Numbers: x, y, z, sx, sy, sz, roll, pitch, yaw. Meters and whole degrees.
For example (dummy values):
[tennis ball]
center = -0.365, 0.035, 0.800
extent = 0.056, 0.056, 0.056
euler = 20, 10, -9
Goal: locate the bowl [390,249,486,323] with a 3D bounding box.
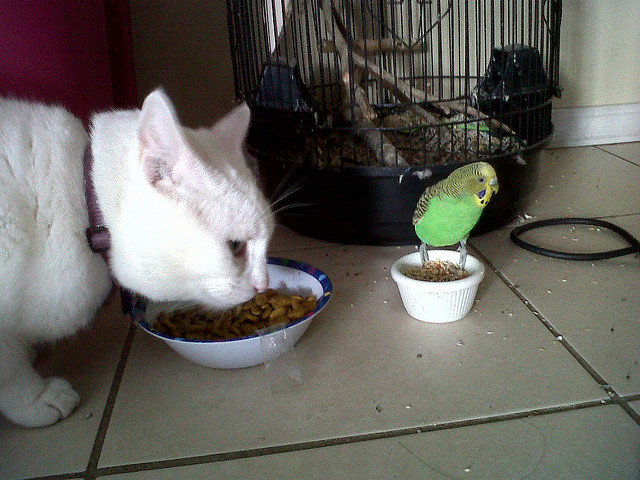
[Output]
[bowl]
center = 0.304, 0.144, 1.576
extent = 0.196, 0.108, 0.202
euler = -5, 10, 1

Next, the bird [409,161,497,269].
[bird]
center = 0.348, -0.052, 1.502
extent = 0.207, 0.290, 0.086
euler = 6, 26, 16

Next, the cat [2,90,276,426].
[cat]
center = -0.403, -0.053, 1.483
extent = 0.832, 0.738, 0.435
euler = 16, 17, 4
